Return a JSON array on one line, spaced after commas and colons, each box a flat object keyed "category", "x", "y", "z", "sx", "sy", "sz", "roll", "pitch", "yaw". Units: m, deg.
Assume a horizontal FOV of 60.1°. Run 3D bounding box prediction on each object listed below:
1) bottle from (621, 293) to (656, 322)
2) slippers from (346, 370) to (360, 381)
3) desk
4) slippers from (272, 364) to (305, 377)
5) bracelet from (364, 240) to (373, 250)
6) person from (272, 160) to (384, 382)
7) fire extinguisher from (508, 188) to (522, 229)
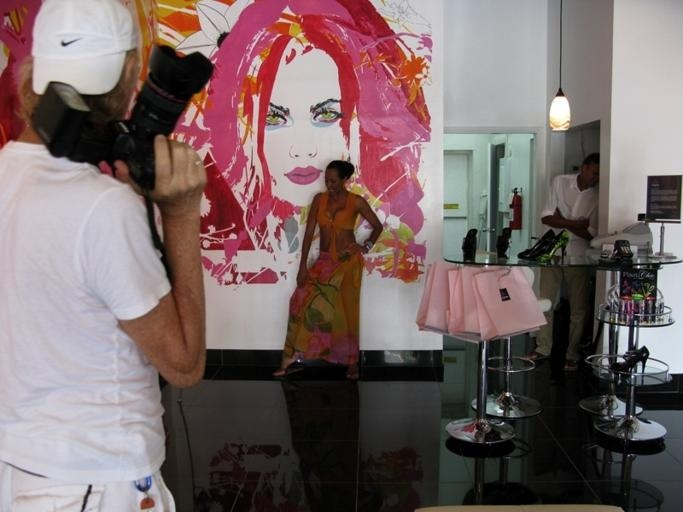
[{"category": "bottle", "x": 1.861, "y": 0.311, "z": 3.692, "sx": 0.168, "sy": 0.136, "sz": 0.174, "roll": 1, "pitch": 1, "yaw": 0}, {"category": "slippers", "x": 0.090, "y": 0.962, "z": 4.818, "sx": 0.077, "sy": 0.076, "sz": 0.019, "roll": 0, "pitch": -27, "yaw": 2}, {"category": "desk", "x": 1.569, "y": 0.600, "z": 3.982, "sx": 1.483, "sy": 1.380, "sz": 1.171, "roll": 0, "pitch": 6, "yaw": 3}, {"category": "slippers", "x": -0.444, "y": 0.940, "z": 4.971, "sx": 0.283, "sy": 0.121, "sz": 0.087, "roll": -4, "pitch": 7, "yaw": -28}, {"category": "bracelet", "x": 0.221, "y": -0.099, "z": 4.858, "sx": 0.071, "sy": 0.072, "sz": 0.021, "roll": 11, "pitch": 0, "yaw": 5}, {"category": "person", "x": -0.098, "y": 0.203, "z": 4.871, "sx": 0.843, "sy": 1.525, "sz": 0.345, "roll": 0, "pitch": 7, "yaw": 2}, {"category": "fire extinguisher", "x": 2.010, "y": -0.532, "z": 6.793, "sx": 0.118, "sy": 0.465, "sz": 0.109, "roll": -4, "pitch": 1, "yaw": 35}]
